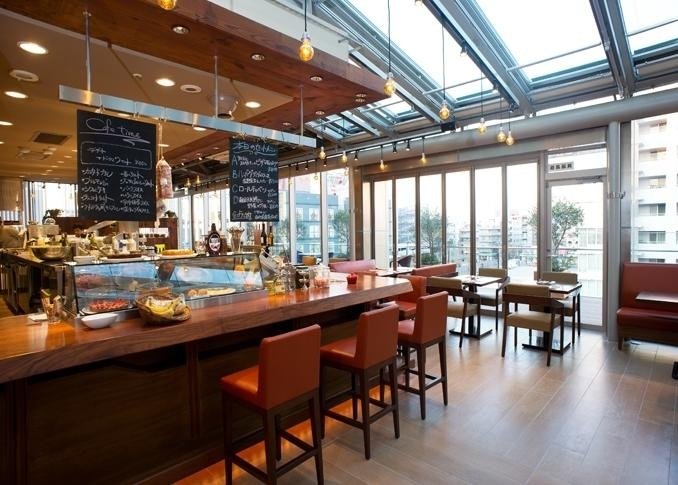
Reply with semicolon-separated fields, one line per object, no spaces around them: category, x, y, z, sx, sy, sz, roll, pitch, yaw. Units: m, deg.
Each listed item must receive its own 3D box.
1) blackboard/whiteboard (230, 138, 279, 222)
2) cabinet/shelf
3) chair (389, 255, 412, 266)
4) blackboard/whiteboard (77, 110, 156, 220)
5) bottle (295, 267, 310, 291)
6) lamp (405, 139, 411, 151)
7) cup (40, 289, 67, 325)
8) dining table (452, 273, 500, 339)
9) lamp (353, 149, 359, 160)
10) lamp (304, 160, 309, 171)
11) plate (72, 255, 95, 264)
blackboard/whiteboard;-1.004;-0.749;5.518;0.639;0.967;0.169;-14;20;-42
cabinet/shelf;-1.561;0.339;4.377;1.653;0.480;0.237;-8;17;-30
chair;1.392;0.391;10.529;0.281;0.158;0.430;3;0;33
blackboard/whiteboard;-2.157;-0.731;4.540;0.801;1.092;0.257;-8;17;-26
bottle;-0.423;0.401;5.224;0.147;0.212;0.221;-1;14;0
lamp;1.338;-1.929;9.132;0.091;0.193;0.097;1;15;8
cup;-2.506;0.572;4.218;0.317;0.278;0.208;3;-5;-40
dining table;2.328;1.048;7.848;1.004;0.875;0.993;2;2;37
lamp;0.362;-1.914;10.086;0.103;0.212;0.140;-3;15;-7
lamp;-0.807;-1.916;11.388;0.048;0.211;0.160;-12;18;-36
plate;-2.508;0.165;4.571;0.170;0.051;0.161;1;-1;-15
